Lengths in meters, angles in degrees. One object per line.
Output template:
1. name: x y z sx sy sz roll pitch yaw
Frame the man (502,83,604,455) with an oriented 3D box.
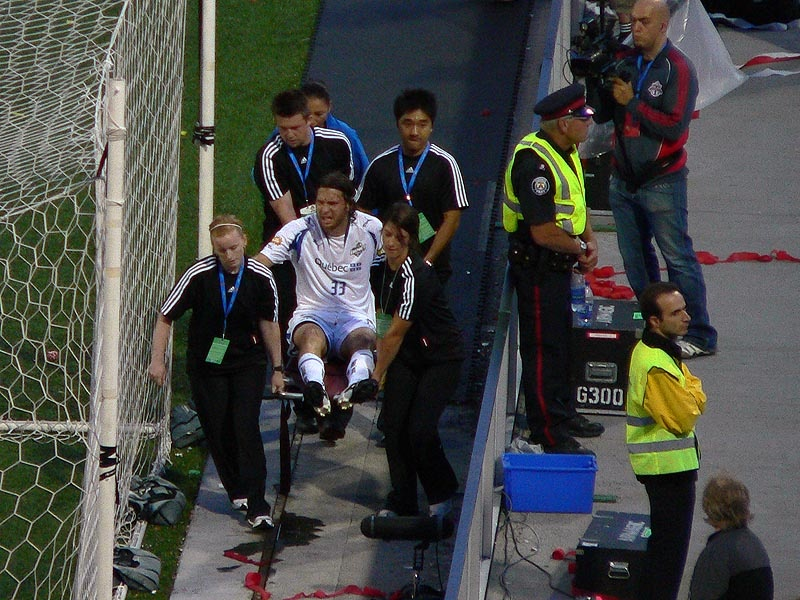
1. man: 1.178 -0.241 9.957 0.720 2.801 0.657 1 -3 -16

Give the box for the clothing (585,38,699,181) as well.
1. clothing: 1.980 -1.553 10.777 0.934 1.240 0.850 19 27 40

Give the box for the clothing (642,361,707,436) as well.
1. clothing: 1.895 0.638 9.108 0.451 0.525 0.563 -3 14 3

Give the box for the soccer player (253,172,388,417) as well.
1. soccer player: -0.647 0.176 9.876 1.446 0.963 1.610 1 43 -5

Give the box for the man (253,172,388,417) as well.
1. man: -0.575 0.121 9.877 1.446 0.963 1.610 1 43 -5

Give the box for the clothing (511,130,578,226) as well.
1. clothing: 1.092 -0.869 9.891 0.662 0.805 0.660 -4 13 10

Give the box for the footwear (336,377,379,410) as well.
1. footwear: -0.325 0.679 9.409 0.363 0.229 0.215 -1 -3 32

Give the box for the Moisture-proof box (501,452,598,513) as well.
1. Moisture-proof box: 1.091 1.338 9.615 0.678 0.359 0.366 1 10 0

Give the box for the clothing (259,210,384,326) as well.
1. clothing: -0.527 -0.187 10.165 1.344 0.880 0.382 -1 12 -25

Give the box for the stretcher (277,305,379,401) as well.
1. stretcher: -0.504 0.338 9.897 0.581 0.322 1.083 10 31 -2

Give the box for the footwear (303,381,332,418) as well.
1. footwear: -0.568 0.744 9.369 0.132 0.330 0.152 -20 37 4

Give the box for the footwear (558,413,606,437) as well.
1. footwear: 1.443 1.009 10.291 0.400 0.174 0.141 4 25 -5

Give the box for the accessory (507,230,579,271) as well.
1. accessory: 1.102 -0.347 9.898 0.358 0.124 0.295 16 -1 -20

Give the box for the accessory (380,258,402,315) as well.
1. accessory: -0.066 -0.072 9.573 0.098 0.355 0.347 1 -3 -12

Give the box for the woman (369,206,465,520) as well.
1. woman: 0.058 0.461 9.632 0.547 2.288 0.730 -2 -4 40

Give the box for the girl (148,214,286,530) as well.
1. girl: -1.348 0.573 9.938 0.850 2.399 0.588 3 -4 -42

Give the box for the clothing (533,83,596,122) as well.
1. clothing: 1.240 -1.486 9.793 0.356 0.143 0.283 -8 18 -12

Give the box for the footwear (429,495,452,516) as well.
1. footwear: 0.306 1.541 9.740 0.135 0.101 0.124 3 10 22
